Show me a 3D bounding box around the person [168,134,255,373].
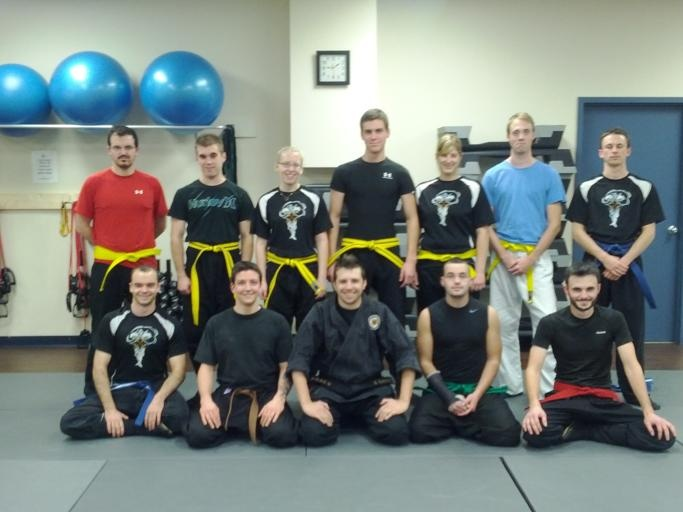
[{"bbox_3d":[-0.922,0.077,4.706,0.648,1.733,0.400,3,12,-3],"label":"person"}]

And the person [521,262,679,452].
[{"bbox_3d":[1.512,0.583,3.909,0.825,1.035,0.508,2,15,14],"label":"person"}]

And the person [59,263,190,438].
[{"bbox_3d":[-1.284,0.597,4.032,0.736,0.909,0.855,9,9,32],"label":"person"}]

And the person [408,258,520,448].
[{"bbox_3d":[0.754,0.576,4.059,0.650,1.018,0.502,1,14,8],"label":"person"}]

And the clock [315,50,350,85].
[{"bbox_3d":[-0.071,-1.551,5.466,0.315,0.279,0.023,1,4,-3],"label":"clock"}]

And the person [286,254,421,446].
[{"bbox_3d":[0.070,0.556,4.020,0.779,1.071,0.469,-2,14,-2],"label":"person"}]

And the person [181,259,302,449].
[{"bbox_3d":[-0.580,0.609,4.034,0.769,0.978,0.696,1,12,15],"label":"person"}]

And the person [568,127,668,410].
[{"bbox_3d":[1.888,0.099,4.636,0.716,1.867,0.448,0,6,20],"label":"person"}]
